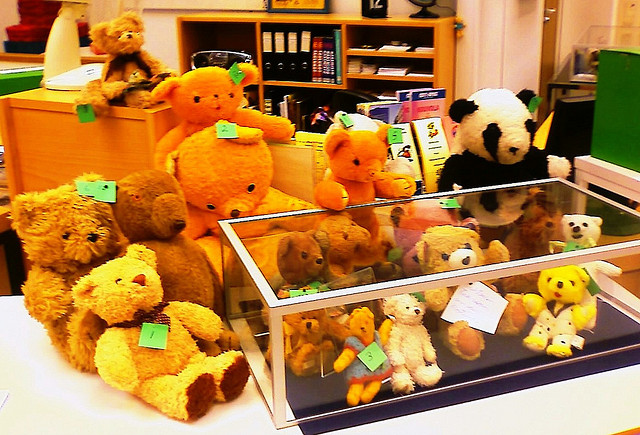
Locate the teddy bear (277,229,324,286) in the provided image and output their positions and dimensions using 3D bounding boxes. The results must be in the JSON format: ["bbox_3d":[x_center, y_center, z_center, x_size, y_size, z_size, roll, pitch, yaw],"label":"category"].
[{"bbox_3d":[-0.055,0.108,1.231,0.128,0.117,0.138,17,-31,-34],"label":"teddy bear"}]

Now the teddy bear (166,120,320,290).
[{"bbox_3d":[-0.341,-0.073,1.833,0.735,0.510,0.474,-8,26,-13],"label":"teddy bear"}]

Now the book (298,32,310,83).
[{"bbox_3d":[-0.157,-1.546,4.461,0.101,0.454,0.092,2,24,7],"label":"book"}]

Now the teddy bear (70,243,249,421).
[{"bbox_3d":[-0.405,0.285,1.178,0.444,0.324,0.335,5,15,7],"label":"teddy bear"}]

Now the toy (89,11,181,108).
[{"bbox_3d":[-0.807,-0.688,2.001,0.337,0.344,0.287,-21,46,-25],"label":"toy"}]

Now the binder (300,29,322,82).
[{"bbox_3d":[-0.092,-1.564,4.442,0.249,0.480,0.587,1,4,-6],"label":"binder"}]

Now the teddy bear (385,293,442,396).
[{"bbox_3d":[0.242,0.319,1.190,0.145,0.219,0.163,-2,22,-2],"label":"teddy bear"}]

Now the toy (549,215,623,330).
[{"bbox_3d":[0.749,0.167,1.320,0.183,0.303,0.254,13,25,30],"label":"toy"}]

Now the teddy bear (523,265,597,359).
[{"bbox_3d":[0.697,0.265,1.347,0.201,0.224,0.217,-6,7,-43],"label":"teddy bear"}]

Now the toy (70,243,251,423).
[{"bbox_3d":[-0.419,0.280,1.166,0.406,0.333,0.357,7,15,25],"label":"toy"}]

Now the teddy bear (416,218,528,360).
[{"bbox_3d":[0.409,0.209,1.241,0.293,0.294,0.267,-30,26,-31],"label":"teddy bear"}]

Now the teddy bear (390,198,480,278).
[{"bbox_3d":[0.326,0.031,1.526,0.332,0.198,0.235,4,4,25],"label":"teddy bear"}]

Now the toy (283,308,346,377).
[{"bbox_3d":[-0.020,0.304,1.118,0.159,0.172,0.075,-17,50,-7],"label":"toy"}]

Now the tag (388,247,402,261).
[{"bbox_3d":[0.207,0.100,1.281,0.043,0.010,0.034,-5,40,20],"label":"tag"}]

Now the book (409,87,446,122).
[{"bbox_3d":[0.522,-0.535,2.266,0.227,0.165,0.030,-11,18,-24],"label":"book"}]

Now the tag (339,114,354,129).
[{"bbox_3d":[0.099,-0.382,1.845,0.057,0.016,0.068,-25,65,-13],"label":"tag"}]

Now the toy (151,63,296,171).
[{"bbox_3d":[-0.430,-0.387,1.889,0.576,0.459,0.247,-23,43,-29],"label":"toy"}]

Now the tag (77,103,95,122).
[{"bbox_3d":[-0.941,-0.421,1.851,0.058,0.074,0.021,-7,24,-14],"label":"tag"}]

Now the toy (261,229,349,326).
[{"bbox_3d":[-0.038,0.173,1.240,0.261,0.248,0.235,-4,-2,16],"label":"toy"}]

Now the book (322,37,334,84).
[{"bbox_3d":[0.076,-1.481,4.375,0.123,0.412,0.093,5,24,14],"label":"book"}]

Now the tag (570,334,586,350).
[{"bbox_3d":[0.717,0.344,1.288,0.045,0.030,0.034,-3,12,-38],"label":"tag"}]

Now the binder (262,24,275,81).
[{"bbox_3d":[-0.557,-1.602,4.620,0.131,0.431,0.184,-9,15,-24],"label":"binder"}]

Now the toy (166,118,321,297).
[{"bbox_3d":[-0.273,-0.035,1.519,0.610,0.452,0.408,-14,30,-25],"label":"toy"}]

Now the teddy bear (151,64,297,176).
[{"bbox_3d":[-0.431,-0.402,1.894,0.603,0.436,0.225,-23,47,-28],"label":"teddy bear"}]

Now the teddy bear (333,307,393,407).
[{"bbox_3d":[0.101,0.342,1.143,0.102,0.210,0.150,19,29,39],"label":"teddy bear"}]

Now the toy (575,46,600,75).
[{"bbox_3d":[2.557,-1.509,4.439,0.068,0.256,0.209,-22,30,-39],"label":"toy"}]

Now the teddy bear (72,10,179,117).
[{"bbox_3d":[-0.852,-0.665,1.961,0.466,0.379,0.273,-19,44,-24],"label":"teddy bear"}]

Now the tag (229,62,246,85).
[{"bbox_3d":[-0.322,-0.551,1.767,0.080,0.063,0.021,-5,4,-26],"label":"tag"}]
